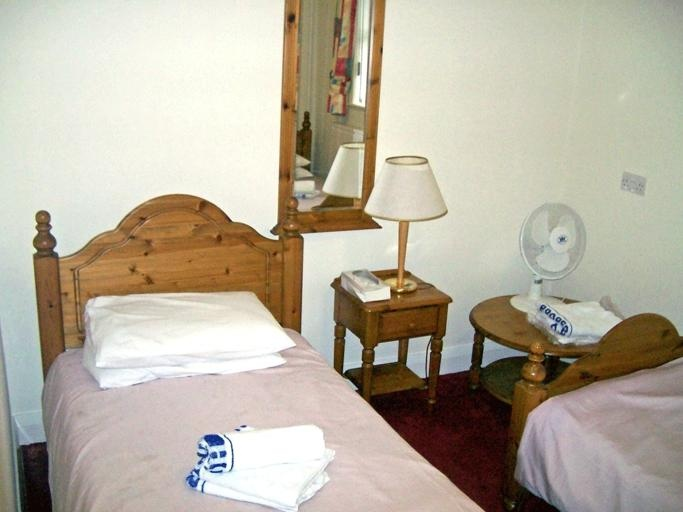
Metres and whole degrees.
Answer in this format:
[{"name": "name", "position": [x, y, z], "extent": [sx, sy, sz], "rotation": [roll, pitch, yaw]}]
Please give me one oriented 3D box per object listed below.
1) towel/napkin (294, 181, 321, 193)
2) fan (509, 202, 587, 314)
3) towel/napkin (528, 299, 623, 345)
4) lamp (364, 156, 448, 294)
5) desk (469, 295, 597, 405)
[{"name": "towel/napkin", "position": [-0.249, -0.456, 3.669], "extent": [0.141, 0.077, 0.096], "rotation": [3, 5, -11]}, {"name": "fan", "position": [1.447, 0.005, 4.003], "extent": [0.507, 0.773, 0.468], "rotation": [-2, 8, -12]}, {"name": "towel/napkin", "position": [1.536, 0.420, 3.506], "extent": [0.323, 0.098, 0.323], "rotation": [-5, 18, -18]}, {"name": "lamp", "position": [0.409, -0.236, 3.729], "extent": [0.573, 0.920, 0.569], "rotation": [-21, 35, -32]}, {"name": "desk", "position": [1.200, 0.616, 3.724], "extent": [0.773, 0.510, 0.768], "rotation": [0, 16, -4]}]
